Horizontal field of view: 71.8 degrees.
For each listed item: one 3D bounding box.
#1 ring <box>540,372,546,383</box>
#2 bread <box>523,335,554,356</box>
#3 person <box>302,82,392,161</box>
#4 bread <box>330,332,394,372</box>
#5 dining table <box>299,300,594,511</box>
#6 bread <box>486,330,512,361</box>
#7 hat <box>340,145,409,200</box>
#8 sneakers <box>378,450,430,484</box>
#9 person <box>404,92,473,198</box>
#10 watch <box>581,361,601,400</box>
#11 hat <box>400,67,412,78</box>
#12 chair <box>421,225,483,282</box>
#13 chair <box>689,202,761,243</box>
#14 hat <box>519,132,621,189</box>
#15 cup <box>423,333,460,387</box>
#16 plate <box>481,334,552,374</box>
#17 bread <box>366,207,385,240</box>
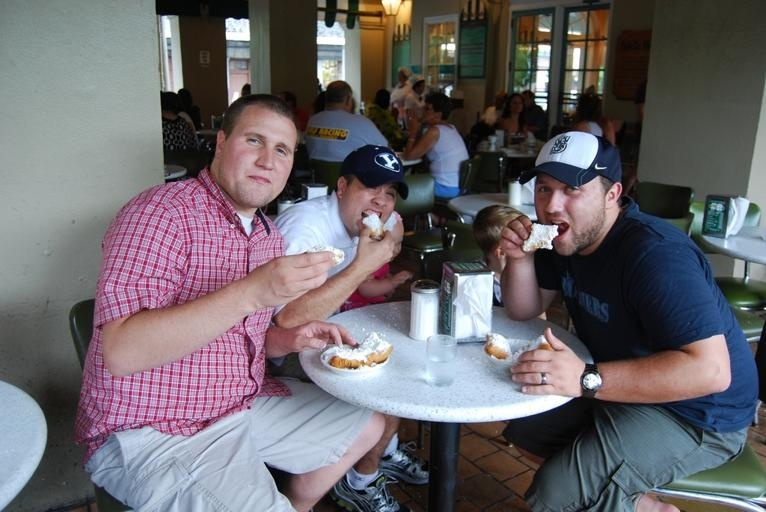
[{"bbox_3d":[0.535,0.405,1.767,0.023,0.036,0.018,2,17,9],"label":"ring"},{"bbox_3d":[0.555,0.315,1.893,0.067,0.016,0.067,-23,4,-11],"label":"bread"},{"bbox_3d":[-0.452,-1.491,5.742,1.125,0.838,0.773,13,30,11],"label":"person"},{"bbox_3d":[-0.090,0.344,1.887,0.143,0.052,0.128,-6,10,-4],"label":"bread"},{"bbox_3d":[0.225,0.485,2.145,0.890,0.899,0.844,6,23,13],"label":"dining table"},{"bbox_3d":[0.432,0.336,1.997,0.069,0.042,0.108,8,17,-5],"label":"bread"},{"bbox_3d":[-0.025,-0.442,2.626,0.302,0.209,0.407,4,12,-39],"label":"hat"},{"bbox_3d":[0.105,1.030,2.640,0.306,0.131,0.114,3,9,6],"label":"sneakers"},{"bbox_3d":[0.562,-1.297,6.075,0.764,1.155,0.736,-4,18,-12],"label":"person"},{"bbox_3d":[0.705,0.418,1.793,0.075,0.110,0.105,18,0,20],"label":"watch"},{"bbox_3d":[0.432,-3.656,10.586,0.226,0.198,0.257,0,16,0],"label":"hat"},{"bbox_3d":[0.406,-0.014,3.212,0.341,0.425,0.330,-7,21,-22],"label":"chair"},{"bbox_3d":[2.403,-0.258,3.717,0.372,0.410,0.367,0,8,9],"label":"chair"},{"bbox_3d":[0.771,-0.400,2.159,0.430,0.196,0.303,-3,14,-37],"label":"hat"},{"bbox_3d":[0.198,0.354,1.817,0.098,0.168,0.075,0,17,2],"label":"cup"},{"bbox_3d":[0.475,0.356,1.941,0.167,0.066,0.117,-8,6,19],"label":"plate"},{"bbox_3d":[-0.052,-0.144,2.335,0.093,0.122,0.046,-14,-9,-27],"label":"bread"}]
